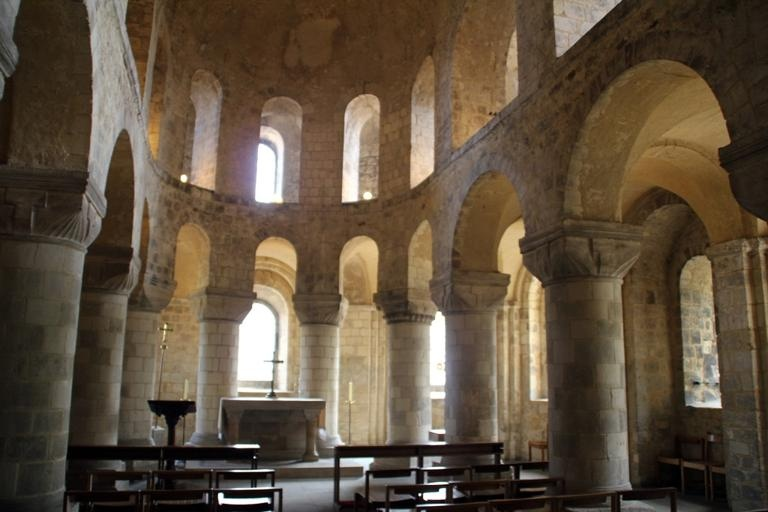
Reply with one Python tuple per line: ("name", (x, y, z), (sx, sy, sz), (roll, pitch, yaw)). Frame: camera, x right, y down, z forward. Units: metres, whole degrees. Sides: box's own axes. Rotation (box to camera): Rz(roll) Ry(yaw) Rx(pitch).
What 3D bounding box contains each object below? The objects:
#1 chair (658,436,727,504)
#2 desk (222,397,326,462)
("chair", (6.325, 4.382, 14.942), (0.601, 1.131, 1.591), (9, -19, -12))
("desk", (-2.505, 3.941, 16.479), (2.276, 1.276, 1.102), (2, -17, -8))
